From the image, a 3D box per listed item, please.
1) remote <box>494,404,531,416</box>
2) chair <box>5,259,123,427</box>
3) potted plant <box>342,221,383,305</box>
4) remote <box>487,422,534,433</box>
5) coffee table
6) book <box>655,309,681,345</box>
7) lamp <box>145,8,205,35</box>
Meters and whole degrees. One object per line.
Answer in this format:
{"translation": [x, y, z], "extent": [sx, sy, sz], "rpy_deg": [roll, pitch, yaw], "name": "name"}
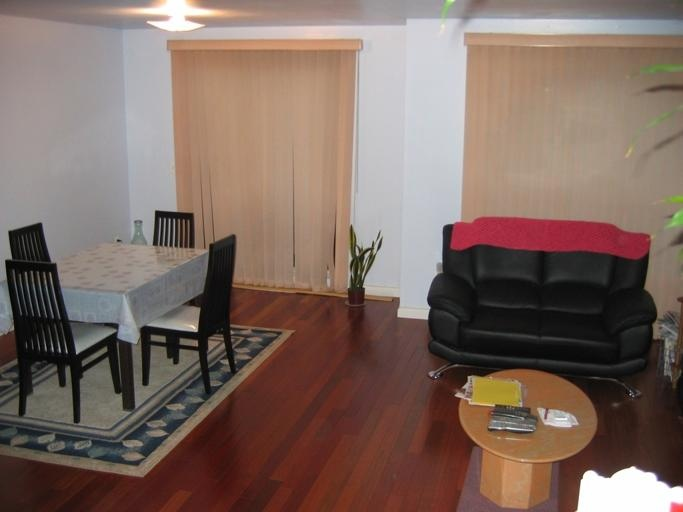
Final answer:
{"translation": [0.978, 0.887, 2.938], "extent": [0.095, 0.024, 0.094], "rpy_deg": [0, 4, -5], "name": "remote"}
{"translation": [-1.925, 0.550, 3.483], "extent": [0.668, 1.121, 0.426], "rpy_deg": [-3, 14, -9], "name": "chair"}
{"translation": [0.256, 0.078, 5.555], "extent": [0.392, 0.833, 0.518], "rpy_deg": [0, 13, 4], "name": "potted plant"}
{"translation": [0.938, 0.945, 2.811], "extent": [0.158, 0.040, 0.092], "rpy_deg": [0, 13, 10], "name": "remote"}
{"translation": [1.082, 1.077, 3.031], "extent": [0.658, 0.472, 0.690], "rpy_deg": [-1, 26, 2], "name": "coffee table"}
{"translation": [2.590, 0.556, 4.056], "extent": [0.107, 0.348, 0.261], "rpy_deg": [-6, -22, 35], "name": "book"}
{"translation": [-1.233, -1.773, 3.796], "extent": [0.343, 0.158, 0.334], "rpy_deg": [-6, 14, -20], "name": "lamp"}
